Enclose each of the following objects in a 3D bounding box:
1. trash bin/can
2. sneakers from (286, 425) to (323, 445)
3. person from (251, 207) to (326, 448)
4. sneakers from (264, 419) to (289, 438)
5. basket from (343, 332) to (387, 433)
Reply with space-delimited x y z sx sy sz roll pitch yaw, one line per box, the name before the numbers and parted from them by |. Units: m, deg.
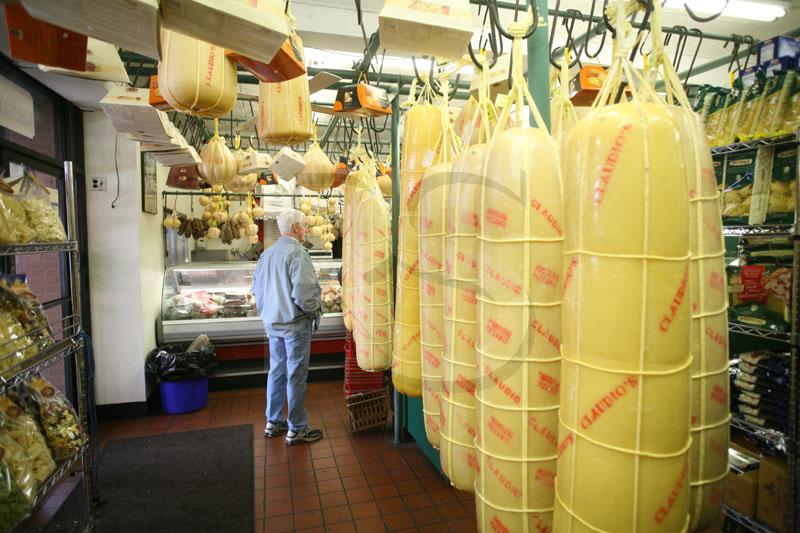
trash bin/can | -2.086 1.072 5.603 0.618 0.597 0.613 0 -2 -7
sneakers | -0.807 1.424 4.863 0.300 0.136 0.124 -5 8 -26
person | -0.979 0.503 4.976 0.544 1.915 0.759 -3 11 -15
sneakers | -1.091 1.414 4.957 0.095 0.102 0.224 1 4 5
basket | -0.290 1.002 5.008 0.391 0.910 0.322 0 11 -3
